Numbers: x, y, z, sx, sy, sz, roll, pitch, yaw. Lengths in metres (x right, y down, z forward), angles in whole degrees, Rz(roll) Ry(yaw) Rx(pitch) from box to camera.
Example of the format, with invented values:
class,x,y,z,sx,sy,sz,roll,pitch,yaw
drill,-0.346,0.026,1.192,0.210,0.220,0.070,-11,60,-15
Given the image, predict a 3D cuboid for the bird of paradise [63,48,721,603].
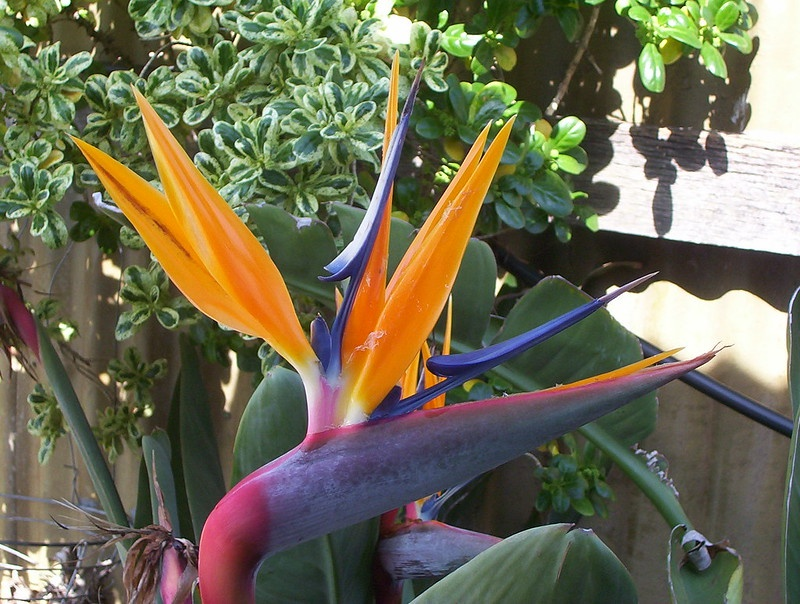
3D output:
class,x,y,z,sx,sy,sz,roll,pitch,yaw
bird of paradise,-0.045,0.087,1.652,0.702,0.839,0.584,2,-8,-7
